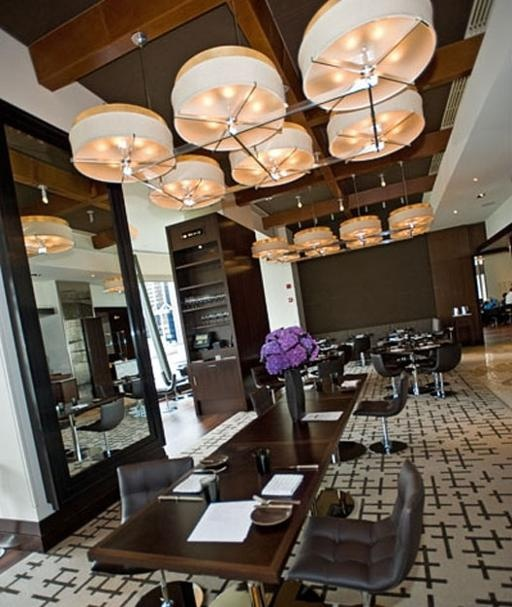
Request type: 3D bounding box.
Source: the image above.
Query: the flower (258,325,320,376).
[{"bbox_3d":[0.251,0.339,3.045,0.447,0.348,0.304,-10,-2,-15],"label":"flower"}]

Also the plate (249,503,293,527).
[{"bbox_3d":[0.057,0.826,1.648,0.158,0.032,0.173,-10,-2,14],"label":"plate"}]

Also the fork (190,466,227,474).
[{"bbox_3d":[-0.259,0.898,2.279,0.097,0.018,0.093,0,-5,10],"label":"fork"}]
